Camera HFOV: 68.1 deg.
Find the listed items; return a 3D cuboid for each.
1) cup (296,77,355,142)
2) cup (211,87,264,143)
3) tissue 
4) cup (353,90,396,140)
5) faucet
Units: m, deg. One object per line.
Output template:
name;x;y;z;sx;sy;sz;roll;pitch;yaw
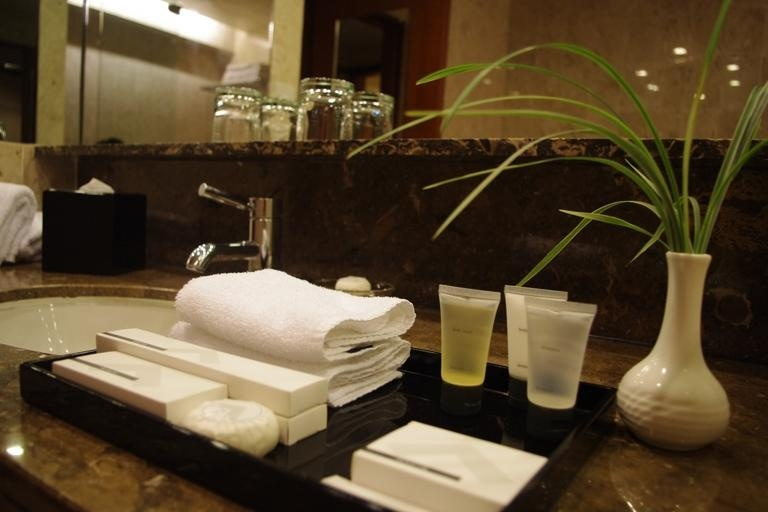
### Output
cup;-0.116;-0.294;1.202;0.133;0.146;0.131;5;9;-1
cup;-0.318;-0.305;1.233;0.102;0.117;0.052;3;12;-9
tissue ;-0.647;-0.047;1.391;0.265;0.250;0.189;3;6;0
cup;-0.023;-0.281;1.190;0.103;0.114;0.103;2;6;0
faucet;-0.271;-0.045;1.046;0.135;0.166;0.245;3;11;-11
